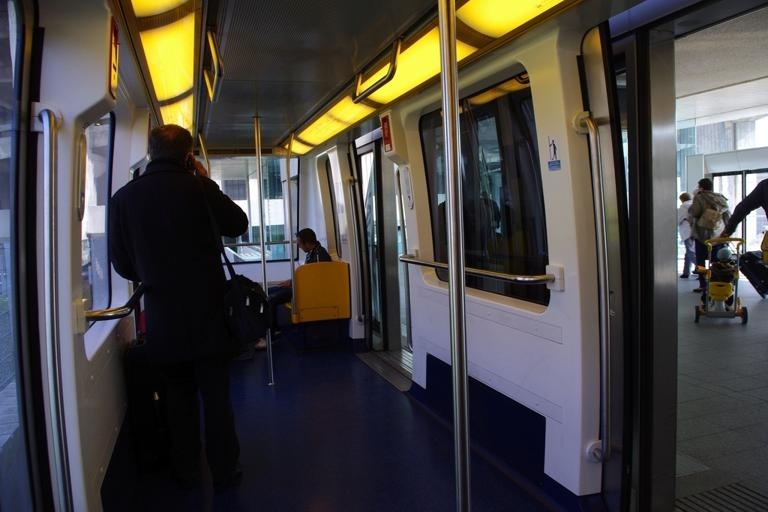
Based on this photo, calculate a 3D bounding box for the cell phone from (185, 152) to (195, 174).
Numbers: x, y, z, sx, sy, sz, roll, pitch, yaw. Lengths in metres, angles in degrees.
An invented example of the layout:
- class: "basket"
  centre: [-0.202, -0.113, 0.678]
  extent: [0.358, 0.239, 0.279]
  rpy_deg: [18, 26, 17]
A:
- class: "cell phone"
  centre: [-1.502, -0.731, 4.299]
  extent: [0.106, 0.058, 0.154]
  rpy_deg: [0, -42, -13]

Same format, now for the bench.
- class: "bench"
  centre: [-0.864, 0.750, 7.984]
  extent: [0.890, 0.937, 1.059]
  rpy_deg: [-8, -35, 3]

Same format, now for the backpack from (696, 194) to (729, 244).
- class: "backpack"
  centre: [3.645, -0.440, 6.147]
  extent: [0.362, 0.519, 0.278]
  rpy_deg: [-15, 14, -7]

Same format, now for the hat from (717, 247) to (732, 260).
- class: "hat"
  centre: [4.101, -0.023, 6.678]
  extent: [0.156, 0.206, 0.194]
  rpy_deg: [4, -11, 37]

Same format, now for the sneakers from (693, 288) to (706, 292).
- class: "sneakers"
  centre: [4.445, 0.485, 7.838]
  extent: [0.071, 0.086, 0.207]
  rpy_deg: [-1, 2, -1]

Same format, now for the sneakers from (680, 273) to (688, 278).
- class: "sneakers"
  centre: [4.711, 0.306, 8.695]
  extent: [0.128, 0.066, 0.094]
  rpy_deg: [2, 5, 20]
